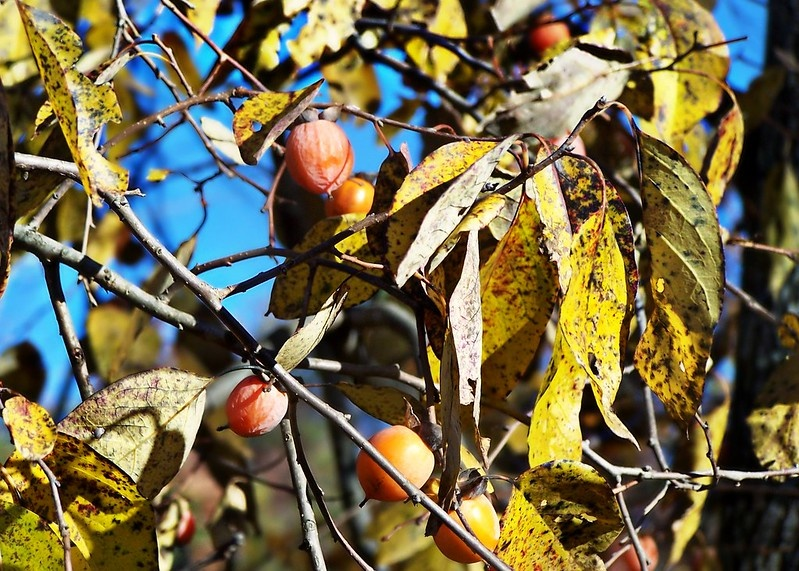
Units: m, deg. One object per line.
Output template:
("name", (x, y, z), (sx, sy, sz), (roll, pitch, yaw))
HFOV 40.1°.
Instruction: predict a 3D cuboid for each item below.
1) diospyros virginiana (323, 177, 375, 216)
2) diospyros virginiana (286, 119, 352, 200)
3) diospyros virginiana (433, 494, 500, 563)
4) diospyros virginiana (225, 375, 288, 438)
("diospyros virginiana", (-0.117, -0.186, 2.228), (0.064, 0.081, 0.062), (-17, 23, -42))
("diospyros virginiana", (-0.153, -0.261, 2.149), (0.131, 0.188, 0.133), (8, 11, 23))
("diospyros virginiana", (0.136, 0.431, 2.077), (0.111, 0.151, 0.108), (-2, 5, -44))
("diospyros virginiana", (-0.276, 0.247, 2.093), (0.094, 0.134, 0.104), (4, -17, 5))
